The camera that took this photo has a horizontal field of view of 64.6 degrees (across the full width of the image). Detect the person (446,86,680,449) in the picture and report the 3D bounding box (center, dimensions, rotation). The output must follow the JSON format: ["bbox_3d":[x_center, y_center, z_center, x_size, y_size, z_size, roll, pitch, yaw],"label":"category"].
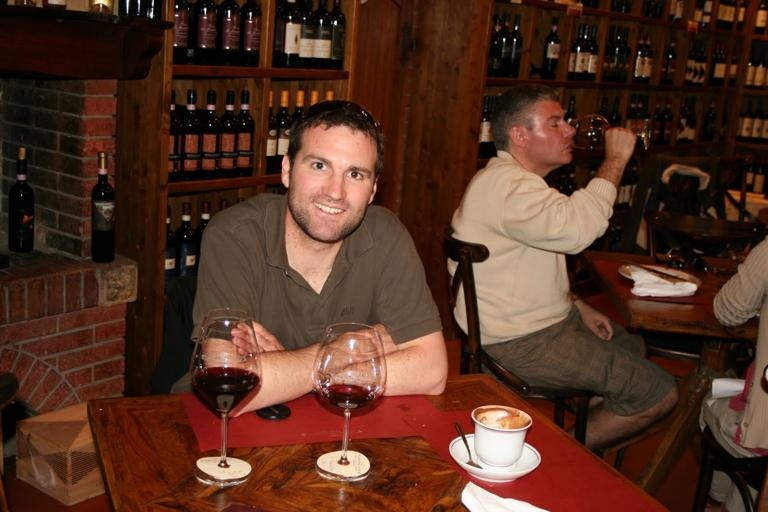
[{"bbox_3d":[0.856,0.180,2.982,1.124,1.872,0.882,4,12,30],"label":"person"}]

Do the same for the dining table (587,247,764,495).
[{"bbox_3d":[1.101,0.582,3.069,0.990,0.943,0.996,5,21,5],"label":"dining table"}]

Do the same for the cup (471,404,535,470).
[{"bbox_3d":[0.282,0.456,1.501,0.151,0.115,0.154,6,3,0],"label":"cup"}]

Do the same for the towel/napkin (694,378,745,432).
[{"bbox_3d":[1.361,0.596,2.498,0.191,0.191,0.074,6,0,-20],"label":"towel/napkin"}]

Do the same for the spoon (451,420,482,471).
[{"bbox_3d":[0.207,0.472,1.520,0.029,0.018,0.135,-3,43,-19],"label":"spoon"}]

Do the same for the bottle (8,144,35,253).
[{"bbox_3d":[-1.725,-0.262,2.920,0.186,0.507,0.103,10,15,37],"label":"bottle"}]
